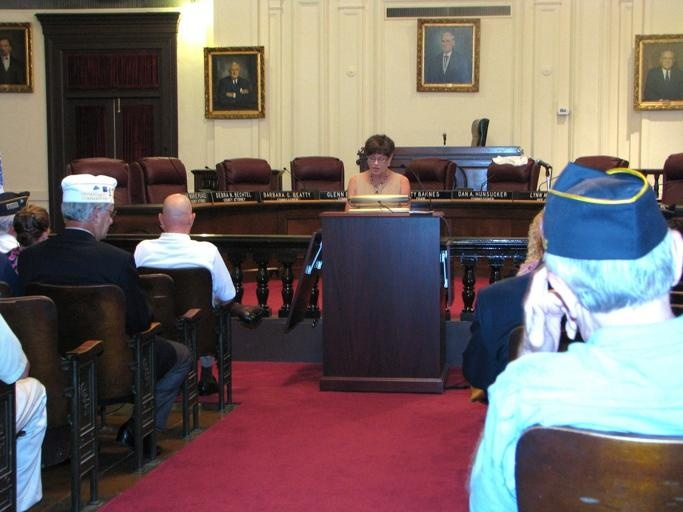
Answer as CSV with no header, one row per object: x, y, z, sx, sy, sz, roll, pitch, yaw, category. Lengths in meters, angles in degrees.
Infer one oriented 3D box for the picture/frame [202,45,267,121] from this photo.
-1.420,-2.283,10.586,0.779,1.040,0.047,-2,-15,-5,picture/frame

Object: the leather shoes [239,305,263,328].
-0.481,0.322,4.241,0.092,0.112,0.116,4,-4,-24,leather shoes

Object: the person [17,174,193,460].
-1.063,0.298,3.599,0.614,1.283,0.697,-1,7,-16,person

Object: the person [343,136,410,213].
0.253,-0.493,5.613,0.558,0.769,0.543,1,10,6,person

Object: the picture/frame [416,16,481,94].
1.439,-2.641,10.434,0.852,1.090,0.070,1,7,11,picture/frame

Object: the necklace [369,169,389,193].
0.274,-0.535,5.835,0.089,0.186,0.042,0,-2,9,necklace
